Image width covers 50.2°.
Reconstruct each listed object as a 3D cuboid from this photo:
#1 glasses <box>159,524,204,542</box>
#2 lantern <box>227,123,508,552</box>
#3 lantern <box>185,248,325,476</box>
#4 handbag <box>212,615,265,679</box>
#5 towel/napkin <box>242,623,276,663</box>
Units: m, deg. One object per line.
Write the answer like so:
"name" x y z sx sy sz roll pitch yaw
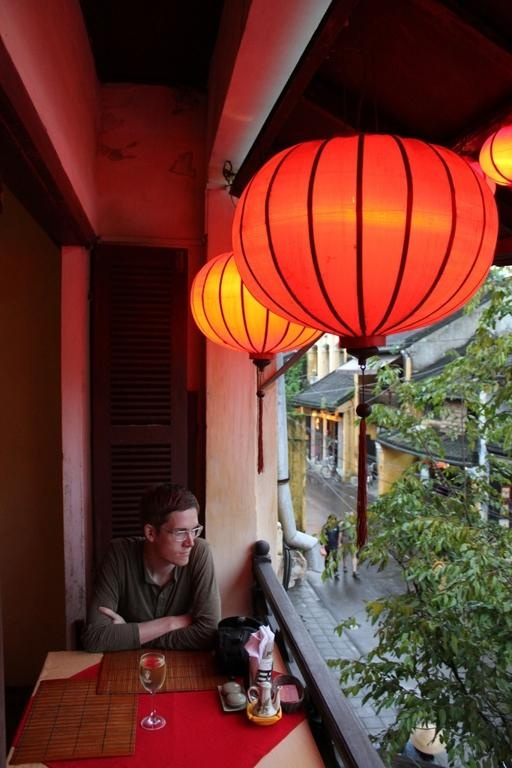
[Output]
"glasses" -0.248 0.503 1.826 0.113 0.050 0.035 -1 0 -36
"lantern" 0.164 -0.119 0.971 0.320 0.639 0.408 -1 -7 2
"lantern" -0.044 -0.203 1.806 0.451 1.059 0.586 0 -3 -5
"handbag" -0.052 0.805 1.701 0.104 0.192 0.172 2 -6 -2
"towel/napkin" 0.008 0.710 1.485 0.031 0.087 0.077 24 -44 -32
